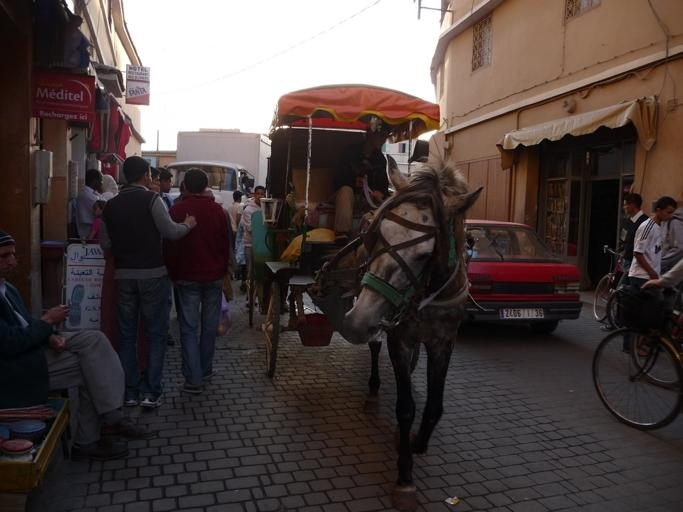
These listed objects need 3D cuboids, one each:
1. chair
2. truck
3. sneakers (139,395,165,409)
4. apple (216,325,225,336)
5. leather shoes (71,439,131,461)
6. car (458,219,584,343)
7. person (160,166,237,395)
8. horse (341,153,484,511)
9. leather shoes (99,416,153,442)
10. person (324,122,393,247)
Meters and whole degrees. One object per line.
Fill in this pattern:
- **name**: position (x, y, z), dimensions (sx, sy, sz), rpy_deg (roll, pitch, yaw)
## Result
- **chair**: position (-0.299, -0.804, 7.509), dimensions (0.814, 1.015, 1.126), rpy_deg (-6, 2, -12)
- **truck**: position (-4.324, -2.915, 18.881), dimensions (3.383, 3.812, 5.945), rpy_deg (1, 5, 0)
- **sneakers**: position (-1.959, 1.509, 5.499), dimensions (0.089, 0.110, 0.225), rpy_deg (3, 8, 4)
- **apple**: position (-1.443, 0.897, 6.369), dimensions (0.094, 0.106, 0.091), rpy_deg (3, -3, -21)
- **leather shoes**: position (-2.074, 1.674, 4.592), dimensions (0.394, 0.189, 0.180), rpy_deg (1, 7, -15)
- **car**: position (2.605, 0.310, 8.858), dimensions (1.442, 1.378, 2.664), rpy_deg (-1, 9, -8)
- **person**: position (-1.623, 0.213, 6.062), dimensions (0.691, 2.451, 0.698), rpy_deg (-2, 9, -18)
- **horse**: position (0.595, 0.551, 4.199), dimensions (0.756, 2.661, 1.279), rpy_deg (7, 9, 35)
- **leather shoes**: position (-1.961, 1.586, 4.919), dimensions (0.525, 0.236, 0.187), rpy_deg (5, 3, -7)
- **person**: position (0.397, -0.981, 6.943), dimensions (0.869, 1.769, 0.640), rpy_deg (0, -10, -1)
